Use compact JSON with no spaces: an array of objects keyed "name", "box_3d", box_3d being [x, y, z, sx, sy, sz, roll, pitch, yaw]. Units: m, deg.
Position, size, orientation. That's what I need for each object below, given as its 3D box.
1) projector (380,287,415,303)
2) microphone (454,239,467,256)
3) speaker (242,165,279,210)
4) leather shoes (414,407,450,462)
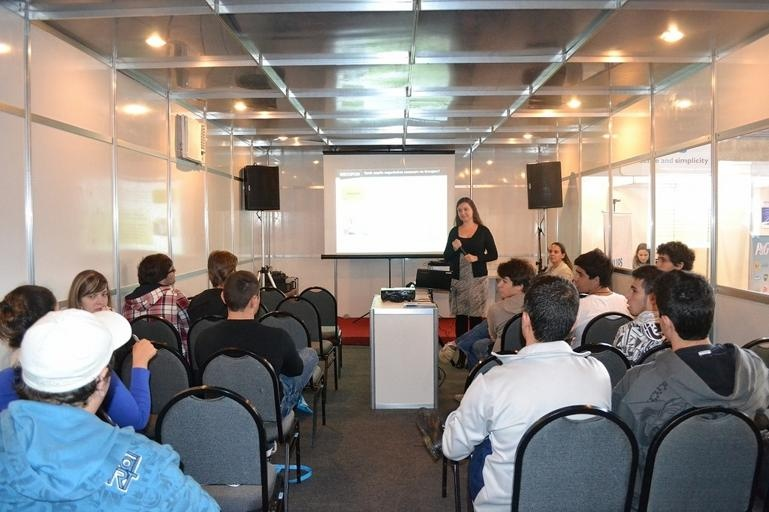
[{"name":"projector","box_3d":[0.145,0.402,6.081,0.352,0.143,0.172,0,10,-2]},{"name":"microphone","box_3d":[0.941,-0.112,7.363,0.136,0.220,0.071,-37,18,-22]},{"name":"speaker","box_3d":[-1.923,-1.068,9.060,0.370,0.758,0.784,-2,-1,38]},{"name":"leather shoes","box_3d":[0.270,1.090,3.640,0.238,0.404,0.122,25,-45,-36]}]
